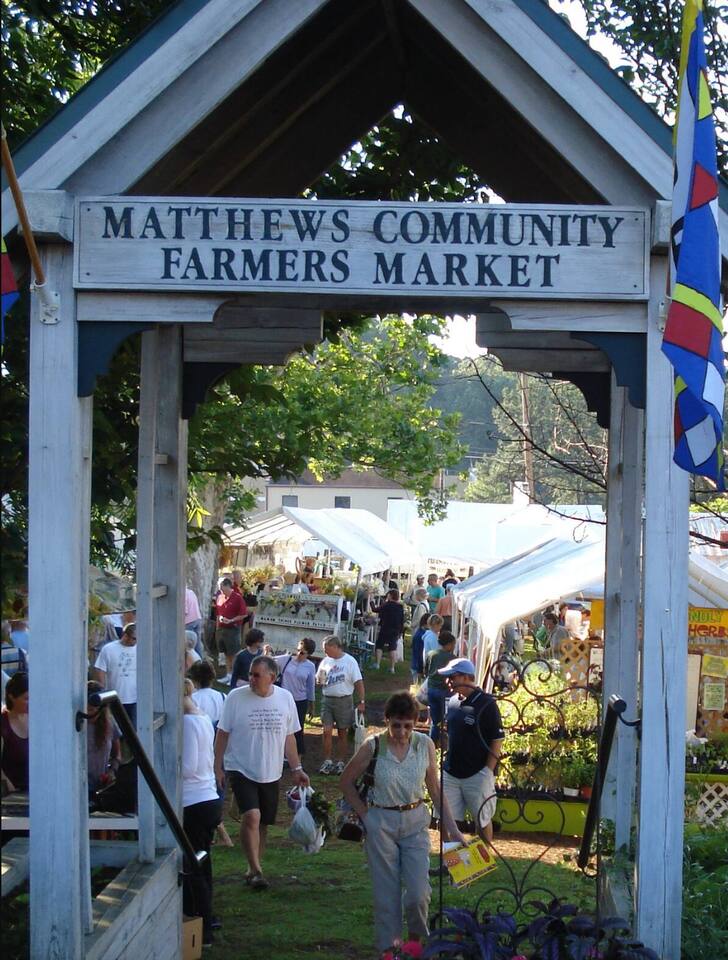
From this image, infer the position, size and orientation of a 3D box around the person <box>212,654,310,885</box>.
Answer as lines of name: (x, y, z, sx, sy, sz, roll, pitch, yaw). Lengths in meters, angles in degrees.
person: (-0.677, 1.879, 11.123, 0.584, 1.511, 0.529, 2, -2, -2)

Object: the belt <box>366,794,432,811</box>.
belt: (0.173, 1.712, 9.126, 0.314, 0.066, 0.143, 2, -2, -9)

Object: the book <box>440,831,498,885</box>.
book: (0.502, 1.919, 8.646, 0.243, 0.243, 0.340, 2, -2, -1)

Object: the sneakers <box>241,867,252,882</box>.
sneakers: (-0.767, 2.574, 11.313, 0.044, 0.084, 0.152, 10, 18, -10)

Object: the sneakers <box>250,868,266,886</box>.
sneakers: (-0.698, 2.602, 11.236, 0.114, 0.117, 0.071, -1, -1, -1)

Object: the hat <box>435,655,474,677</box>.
hat: (0.586, 1.218, 11.303, 0.236, 0.117, 0.152, 0, -4, 1)

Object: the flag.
flag: (1.256, -0.929, 6.602, 0.228, 1.854, 0.293, 1, -3, 10)

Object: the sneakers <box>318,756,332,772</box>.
sneakers: (-0.357, 2.542, 15.348, 0.069, 0.101, 0.211, -2, -16, 7)

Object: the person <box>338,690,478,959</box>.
person: (0.113, 1.831, 9.152, 0.493, 1.220, 0.450, 2, -2, 0)

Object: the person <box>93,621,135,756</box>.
person: (-1.905, 1.656, 13.580, 0.443, 1.125, 0.250, 1, 17, -16)
